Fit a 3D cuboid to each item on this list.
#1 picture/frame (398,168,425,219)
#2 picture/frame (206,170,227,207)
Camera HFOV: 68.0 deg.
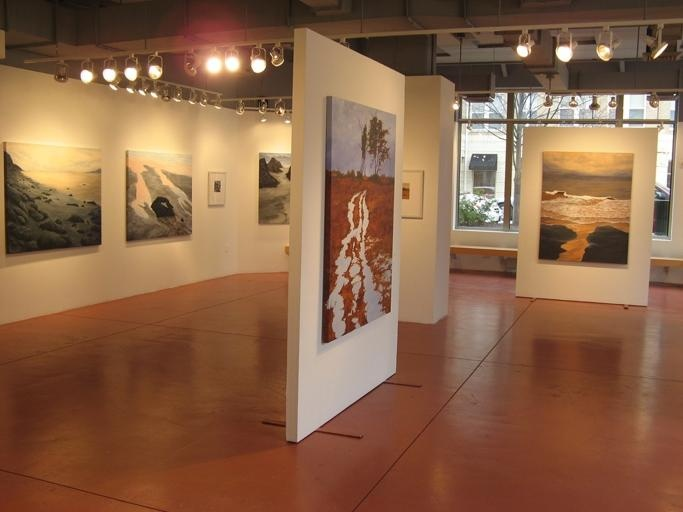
[{"bbox_3d":[1.307,-1.204,8.700,0.405,0.805,0.053,-1,22,-44],"label":"picture/frame"},{"bbox_3d":[-3.021,-1.610,12.253,0.069,0.829,0.587,5,9,29],"label":"picture/frame"}]
